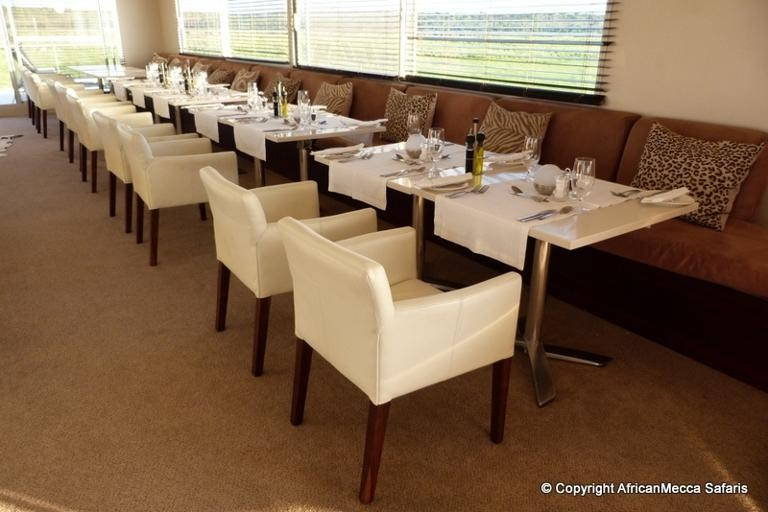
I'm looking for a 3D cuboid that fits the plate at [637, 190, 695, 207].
[{"bbox_3d":[1.565,-0.303,2.761,0.178,0.038,0.149,-15,24,-20],"label":"plate"}]

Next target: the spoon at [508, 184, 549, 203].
[{"bbox_3d":[0.802,-0.333,2.830,0.077,0.028,0.230,-32,42,-31],"label":"spoon"}]

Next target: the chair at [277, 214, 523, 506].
[{"bbox_3d":[-0.003,0.207,2.959,1.272,1.649,1.225,-19,34,-30],"label":"chair"}]

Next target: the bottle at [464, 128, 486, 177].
[{"bbox_3d":[0.555,-0.626,3.104,0.110,0.248,0.196,7,26,10],"label":"bottle"}]

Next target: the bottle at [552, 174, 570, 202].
[{"bbox_3d":[0.961,-0.364,2.779,0.097,0.162,0.096,0,22,0],"label":"bottle"}]

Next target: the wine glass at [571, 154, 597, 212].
[{"bbox_3d":[1.057,-0.398,2.728,0.115,0.243,0.277,12,27,19],"label":"wine glass"}]

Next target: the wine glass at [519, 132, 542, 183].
[{"bbox_3d":[0.895,-0.608,3.107,0.096,0.241,0.325,9,27,14],"label":"wine glass"}]
